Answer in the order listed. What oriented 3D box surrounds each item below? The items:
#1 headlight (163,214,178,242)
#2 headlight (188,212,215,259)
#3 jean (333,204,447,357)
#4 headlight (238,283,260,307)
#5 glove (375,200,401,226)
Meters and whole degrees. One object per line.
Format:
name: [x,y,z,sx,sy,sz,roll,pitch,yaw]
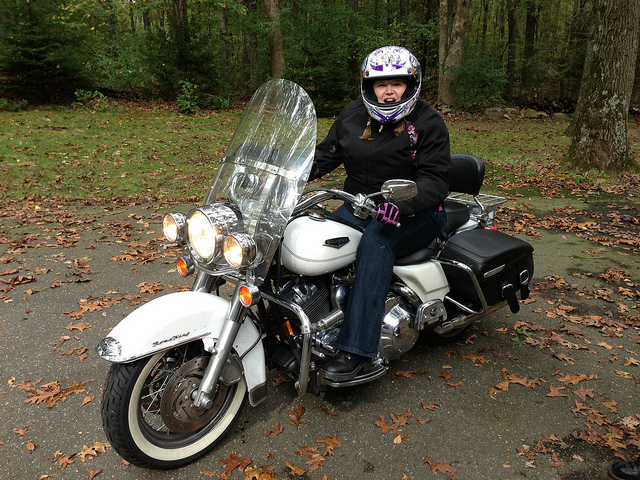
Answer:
headlight: [-1.221,-0.078,4.093,0.098,0.270,0.210,-8,22,-22]
headlight: [-0.901,-0.035,3.846,0.064,0.312,0.293,-18,29,-41]
jean: [0.624,0.245,4.575,0.533,1.711,0.503,13,-2,12]
headlight: [-0.555,0.421,3.912,0.154,0.157,0.101,17,12,31]
glove: [0.552,-0.214,4.107,0.205,0.186,0.060,-6,21,-17]
